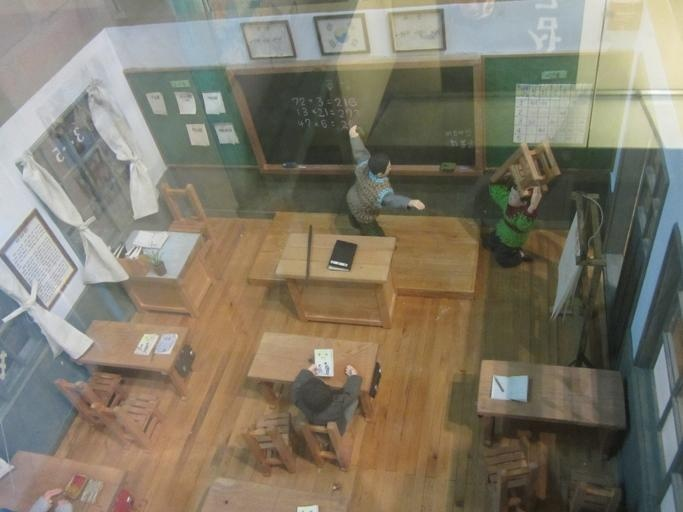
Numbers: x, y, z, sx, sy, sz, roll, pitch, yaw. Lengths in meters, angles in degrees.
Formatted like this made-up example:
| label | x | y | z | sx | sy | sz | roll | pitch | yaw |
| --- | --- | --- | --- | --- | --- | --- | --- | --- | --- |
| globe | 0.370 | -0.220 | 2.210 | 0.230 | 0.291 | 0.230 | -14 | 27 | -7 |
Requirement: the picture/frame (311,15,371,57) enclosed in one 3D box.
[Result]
| label | x | y | z | sx | sy | sz | roll | pitch | yaw |
| --- | --- | --- | --- | --- | --- | --- | --- | --- | --- |
| picture/frame | 0.007 | -2.201 | 5.035 | 0.402 | 0.319 | 0.043 | 2 | 48 | 9 |

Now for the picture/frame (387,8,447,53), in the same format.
| label | x | y | z | sx | sy | sz | roll | pitch | yaw |
| --- | --- | --- | --- | --- | --- | --- | --- | --- | --- |
| picture/frame | 0.726 | -2.180 | 4.874 | 0.415 | 0.340 | 0.030 | 2 | 44 | 16 |

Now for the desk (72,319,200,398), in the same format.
| label | x | y | z | sx | sy | sz | roll | pitch | yaw |
| --- | --- | --- | --- | --- | --- | --- | --- | --- | --- |
| desk | -2.284 | 1.099 | 5.722 | 1.325 | 0.674 | 0.794 | 7 | 26 | -25 |

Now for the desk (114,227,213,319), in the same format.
| label | x | y | z | sx | sy | sz | roll | pitch | yaw |
| --- | --- | --- | --- | --- | --- | --- | --- | --- | --- |
| desk | -1.926 | 0.216 | 5.753 | 0.896 | 1.039 | 0.807 | 10 | 60 | 3 |

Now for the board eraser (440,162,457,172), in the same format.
| label | x | y | z | sx | sy | sz | roll | pitch | yaw |
| --- | --- | --- | --- | --- | --- | --- | --- | --- | --- |
| board eraser | 1.216 | -1.029 | 5.871 | 0.129 | 0.033 | 0.102 | 1 | 61 | 6 |

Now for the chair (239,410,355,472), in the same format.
| label | x | y | z | sx | sy | sz | roll | pitch | yaw |
| --- | --- | --- | --- | --- | --- | --- | --- | --- | --- |
| chair | -0.414 | 1.882 | 5.162 | 1.053 | 0.761 | 0.678 | -1 | 54 | 14 |

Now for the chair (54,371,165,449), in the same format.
| label | x | y | z | sx | sy | sz | roll | pitch | yaw |
| --- | --- | --- | --- | --- | --- | --- | --- | --- | --- |
| chair | -2.472 | 1.659 | 5.397 | 0.576 | 0.906 | 0.504 | 24 | 61 | 7 |
